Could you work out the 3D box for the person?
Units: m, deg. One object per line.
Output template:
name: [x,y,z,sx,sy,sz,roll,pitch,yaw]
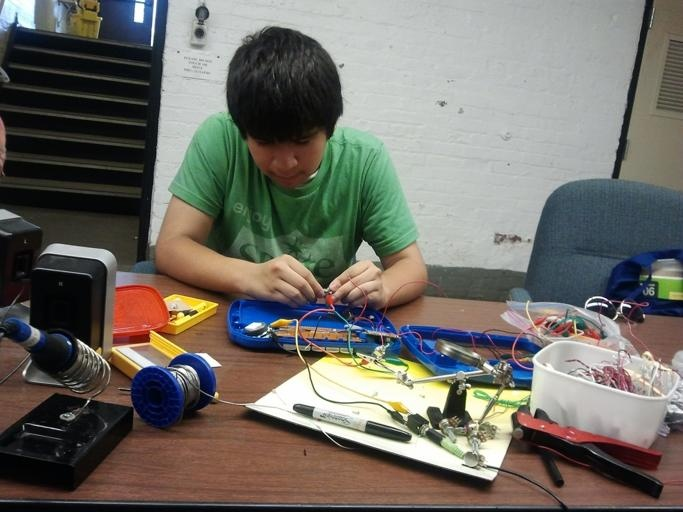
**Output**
person: [-0.099,-0.216,1.690,0.728,0.784,0.633,9,22,9]
